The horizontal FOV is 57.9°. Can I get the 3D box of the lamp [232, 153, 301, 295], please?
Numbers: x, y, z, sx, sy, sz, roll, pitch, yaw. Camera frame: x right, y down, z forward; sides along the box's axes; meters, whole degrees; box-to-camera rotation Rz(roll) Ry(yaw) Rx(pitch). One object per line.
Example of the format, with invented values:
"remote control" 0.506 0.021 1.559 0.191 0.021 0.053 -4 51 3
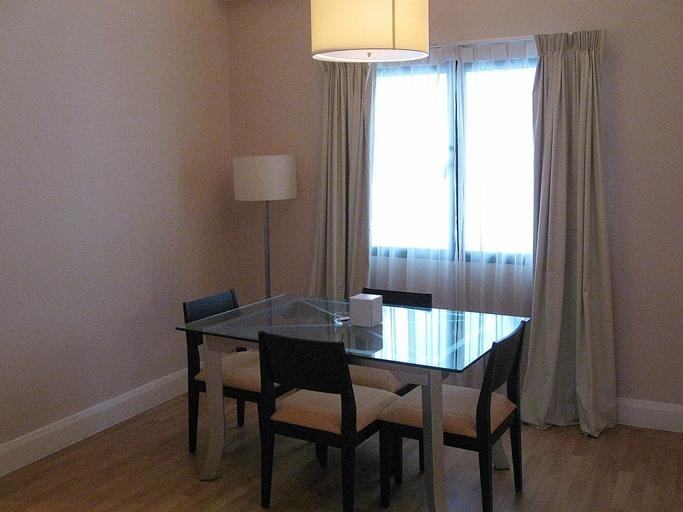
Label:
"lamp" -0.606 -0.259 5.524 0.426 1.273 0.612 10 18 42
